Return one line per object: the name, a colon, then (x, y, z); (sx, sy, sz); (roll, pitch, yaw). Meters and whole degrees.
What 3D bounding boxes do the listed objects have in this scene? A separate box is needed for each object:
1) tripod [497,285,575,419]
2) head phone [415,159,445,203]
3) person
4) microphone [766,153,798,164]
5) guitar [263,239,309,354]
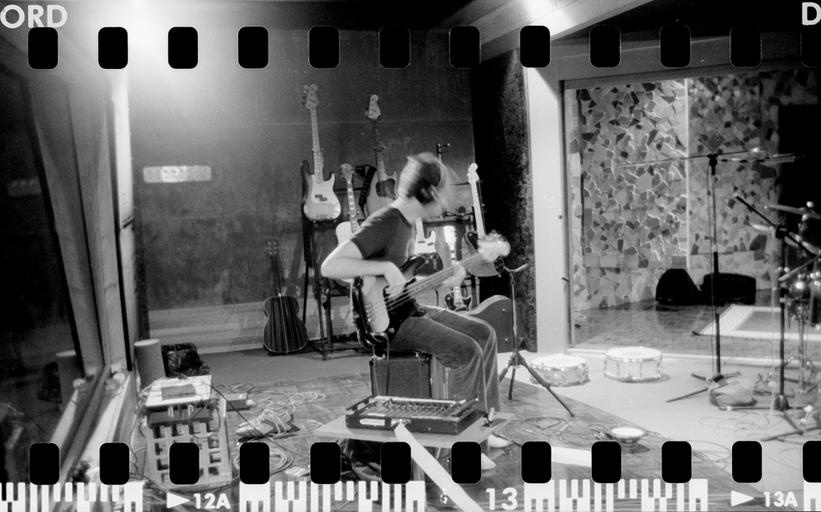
tripod: (1.185, 0.894, 6.470); (0.798, 1.118, 0.750); (-7, 13, -4)
head phone: (0.132, -0.530, 4.976); (0.207, 0.284, 0.104); (3, 0, -27)
person: (0.057, 0.357, 4.966); (1.263, 2.114, 0.982); (0, 10, 8)
microphone: (3.794, -0.983, 7.078); (0.277, 0.093, 0.094); (1, 15, -1)
guitar: (-1.426, 0.463, 7.794); (0.491, 1.124, 0.657); (-3, 10, -8)
